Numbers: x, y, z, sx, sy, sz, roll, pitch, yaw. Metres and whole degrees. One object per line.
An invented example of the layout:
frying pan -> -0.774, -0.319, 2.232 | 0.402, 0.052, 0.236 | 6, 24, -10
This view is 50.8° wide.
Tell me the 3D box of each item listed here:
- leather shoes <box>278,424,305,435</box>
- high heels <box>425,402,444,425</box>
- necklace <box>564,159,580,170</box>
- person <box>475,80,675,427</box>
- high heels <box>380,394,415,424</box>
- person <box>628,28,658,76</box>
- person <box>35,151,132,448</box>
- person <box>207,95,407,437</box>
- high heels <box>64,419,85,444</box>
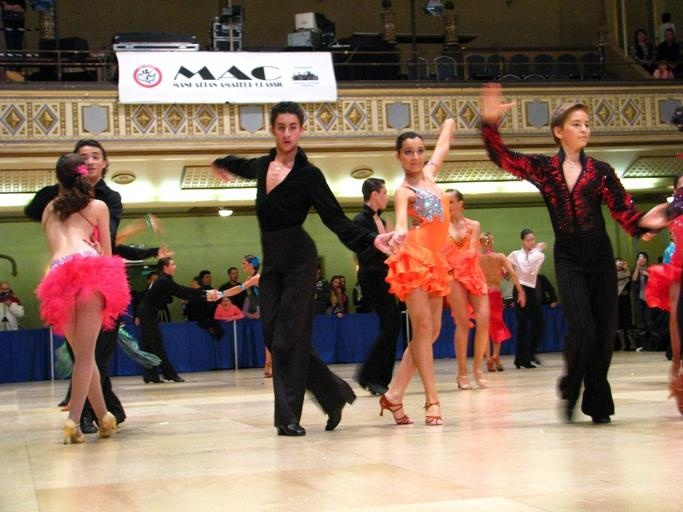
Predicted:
leather shoes -> -0.336, 1.117, 4.651 | 0.177, 0.074, 0.114 | -3, 4, 0
high heels -> 0.622, 1.066, 4.916 | 0.119, 0.155, 0.253 | -2, 4, 7
necklace -> 1.532, -0.614, 4.803 | 0.081, 0.075, 0.022 | 2, -21, 11
person -> 1.555, -0.064, 4.793 | 1.129, 2.288, 0.635 | -1, 5, 30
high heels -> 0.365, 1.086, 5.123 | 0.303, 0.205, 0.122 | 11, 1, 18
person -> 6.761, -4.495, 16.055 | 0.513, 1.127, 0.624 | -10, 11, 6
person -> -1.753, 0.284, 4.881 | 0.584, 1.998, 0.488 | -5, 4, -25
person -> -0.380, 0.038, 4.946 | 1.126, 2.192, 0.665 | 1, 5, 44
high heels -> -1.756, 1.152, 4.679 | 0.075, 0.111, 0.227 | 1, -3, 0
